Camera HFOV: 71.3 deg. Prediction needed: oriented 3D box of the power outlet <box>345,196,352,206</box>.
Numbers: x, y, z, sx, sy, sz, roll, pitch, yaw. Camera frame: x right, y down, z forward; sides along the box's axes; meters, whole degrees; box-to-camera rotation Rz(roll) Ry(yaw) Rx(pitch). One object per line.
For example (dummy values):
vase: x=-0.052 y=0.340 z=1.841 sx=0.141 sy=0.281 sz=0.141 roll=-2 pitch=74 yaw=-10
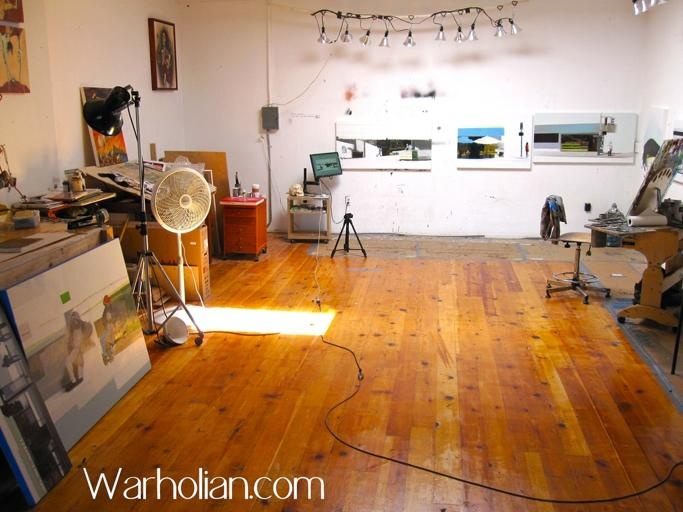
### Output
power outlet: x=0.141 y=-1.061 z=8.940 sx=0.160 sy=0.301 sz=0.029 roll=0 pitch=11 yaw=1

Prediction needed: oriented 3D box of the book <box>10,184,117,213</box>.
book: x=-2.755 y=-0.563 z=4.782 sx=0.562 sy=0.153 sz=0.856 roll=5 pitch=18 yaw=13

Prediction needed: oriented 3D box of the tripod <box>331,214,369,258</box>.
tripod: x=0.177 y=-0.357 z=8.315 sx=0.568 sy=0.758 sz=0.503 roll=-4 pitch=46 yaw=-6

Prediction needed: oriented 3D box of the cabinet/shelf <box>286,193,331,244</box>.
cabinet/shelf: x=-0.570 y=-0.691 z=8.583 sx=0.856 sy=0.920 sz=0.511 roll=-1 pitch=6 yaw=2

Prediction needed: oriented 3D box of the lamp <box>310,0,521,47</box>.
lamp: x=1.240 y=-4.028 z=8.182 sx=3.485 sy=0.740 sz=0.412 roll=2 pitch=17 yaw=6

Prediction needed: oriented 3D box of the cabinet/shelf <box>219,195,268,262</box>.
cabinet/shelf: x=-1.440 y=-0.508 z=7.739 sx=0.737 sy=1.147 sz=0.929 roll=1 pitch=8 yaw=7

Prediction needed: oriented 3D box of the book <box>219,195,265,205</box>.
book: x=-1.487 y=-0.849 z=7.279 sx=0.668 sy=0.103 sz=0.290 roll=-5 pitch=18 yaw=-17

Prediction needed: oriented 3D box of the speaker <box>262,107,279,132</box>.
speaker: x=-1.294 y=-2.539 z=8.771 sx=0.318 sy=0.475 sz=0.138 roll=-2 pitch=17 yaw=-8

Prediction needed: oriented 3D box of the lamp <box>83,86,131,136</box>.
lamp: x=-2.096 y=-1.332 z=4.377 sx=0.613 sy=0.445 sz=0.312 roll=12 pitch=20 yaw=32

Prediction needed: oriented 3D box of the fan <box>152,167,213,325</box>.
fan: x=-1.559 y=-0.092 z=4.873 sx=0.520 sy=1.696 sz=0.820 roll=-4 pitch=17 yaw=-12
